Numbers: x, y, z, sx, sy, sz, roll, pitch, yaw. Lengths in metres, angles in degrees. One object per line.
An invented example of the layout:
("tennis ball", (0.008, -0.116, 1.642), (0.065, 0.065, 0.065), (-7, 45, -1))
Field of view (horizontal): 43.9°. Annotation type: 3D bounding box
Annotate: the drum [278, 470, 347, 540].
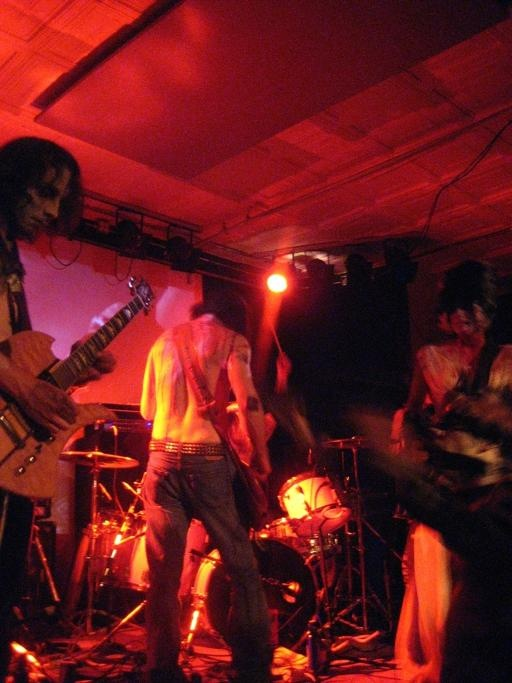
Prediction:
("drum", (0.374, 1.157, 4.537), (0.460, 0.322, 0.421), (-5, -37, -3))
